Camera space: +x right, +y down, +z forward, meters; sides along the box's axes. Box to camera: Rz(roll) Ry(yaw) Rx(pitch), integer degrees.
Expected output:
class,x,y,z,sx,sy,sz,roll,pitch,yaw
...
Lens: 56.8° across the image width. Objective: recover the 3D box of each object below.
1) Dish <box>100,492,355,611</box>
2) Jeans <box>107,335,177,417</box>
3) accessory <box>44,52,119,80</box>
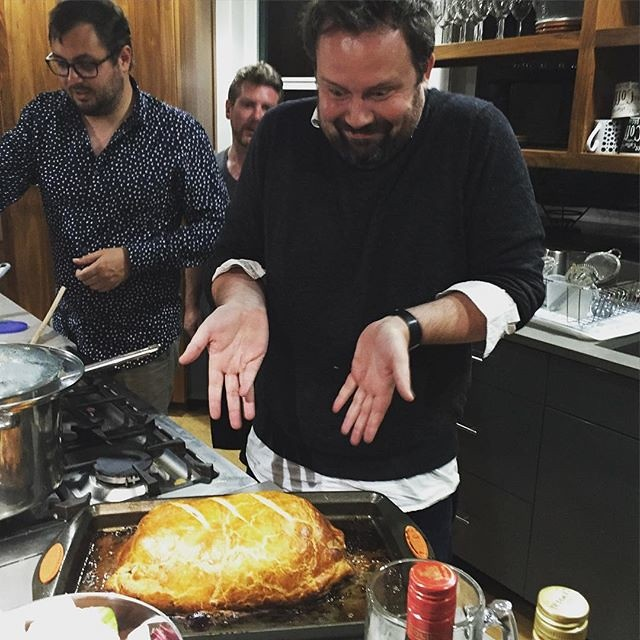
class,x,y,z,sx,sy,sz,roll,pitch,yaw
Dish,-0.103,0.271,0.692,0.169,0.055,0.125,-3,14,-13
Jeans,-0.504,0.153,1.691,0.117,0.224,0.162,-14,49,-7
accessory,-0.705,-0.773,1.848,0.147,0.050,0.160,4,34,5
